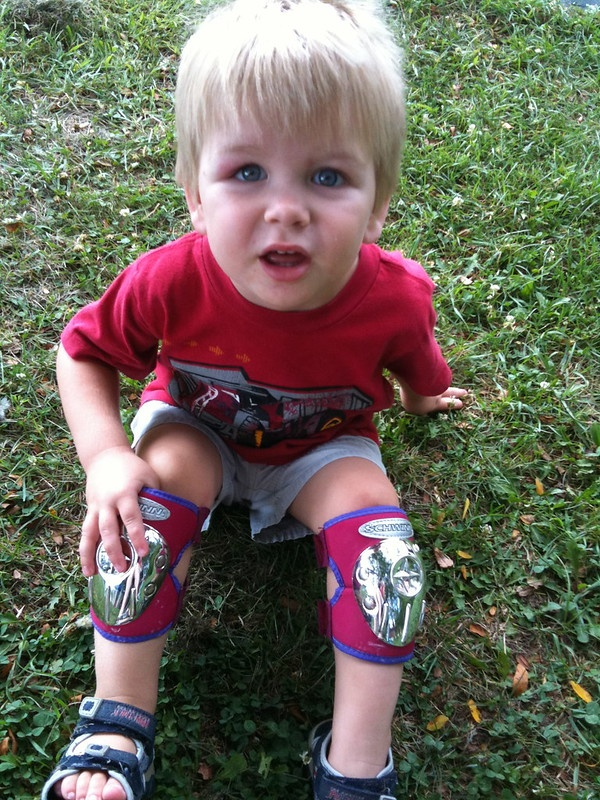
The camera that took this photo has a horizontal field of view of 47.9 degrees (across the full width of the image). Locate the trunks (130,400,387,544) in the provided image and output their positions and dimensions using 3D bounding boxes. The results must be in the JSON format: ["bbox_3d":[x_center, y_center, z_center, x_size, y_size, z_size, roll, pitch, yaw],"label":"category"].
[{"bbox_3d":[-0.106,0.179,1.435,0.439,0.170,0.398,17,27,-4],"label":"trunks"}]

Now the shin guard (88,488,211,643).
[{"bbox_3d":[-0.298,0.303,1.269,0.184,0.135,0.273,17,85,1],"label":"shin guard"}]

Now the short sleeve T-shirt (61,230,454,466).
[{"bbox_3d":[-0.066,-0.094,1.464,0.867,0.545,0.329,5,52,-4],"label":"short sleeve T-shirt"}]

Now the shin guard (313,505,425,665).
[{"bbox_3d":[0.141,0.345,1.264,0.173,0.165,0.256,0,40,-6],"label":"shin guard"}]
